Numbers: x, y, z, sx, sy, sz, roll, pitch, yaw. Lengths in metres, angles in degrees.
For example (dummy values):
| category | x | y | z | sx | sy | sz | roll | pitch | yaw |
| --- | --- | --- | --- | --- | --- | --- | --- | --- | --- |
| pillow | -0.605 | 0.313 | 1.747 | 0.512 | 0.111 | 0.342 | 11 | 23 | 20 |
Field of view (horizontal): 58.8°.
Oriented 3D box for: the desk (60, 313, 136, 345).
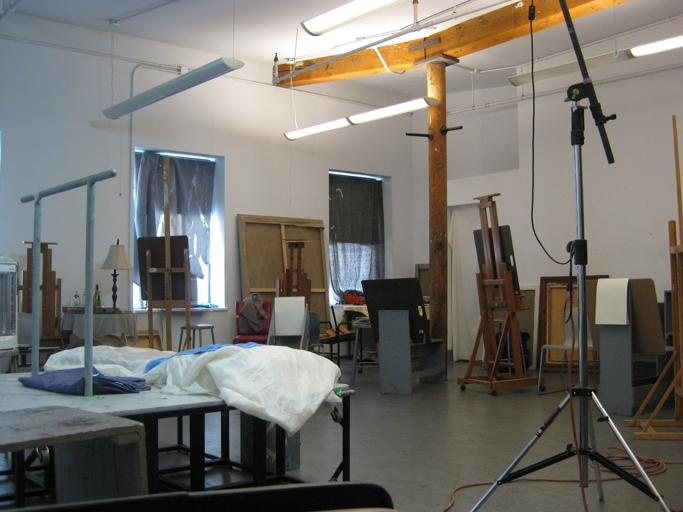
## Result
| category | x | y | z | sx | sy | sz | roll | pitch | yaw |
| --- | --- | --- | --- | --- | --- | --- | --- | --- | --- |
| desk | -3.024 | 0.962 | 7.929 | 0.626 | 0.434 | 0.660 | 2 | -2 | 9 |

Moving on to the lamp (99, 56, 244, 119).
| category | x | y | z | sx | sy | sz | roll | pitch | yaw |
| --- | --- | --- | --- | --- | --- | --- | --- | --- | --- |
| lamp | -2.065 | -2.004 | 7.281 | 2.820 | 0.288 | 0.320 | -6 | -6 | 44 |
